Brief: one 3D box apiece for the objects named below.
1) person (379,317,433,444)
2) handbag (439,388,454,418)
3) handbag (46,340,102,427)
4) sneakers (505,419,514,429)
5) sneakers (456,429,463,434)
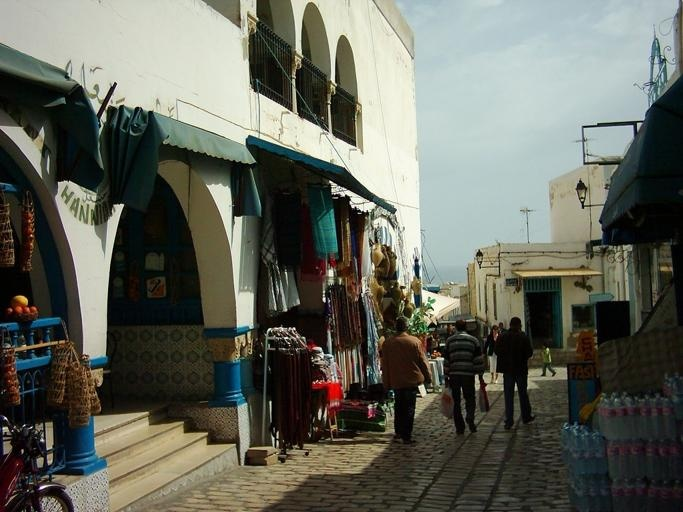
[{"bbox_3d":[0.976,1.932,10.443,0.670,2.056,0.459,0,15,6],"label":"person"},{"bbox_3d":[1.677,2.383,10.698,0.211,0.469,0.312,-4,-5,8],"label":"handbag"},{"bbox_3d":[-2.687,1.288,6.707,0.481,0.864,0.237,-1,-5,-29],"label":"handbag"},{"bbox_3d":[2.775,2.823,11.144,0.125,0.164,0.133,10,-13,-25],"label":"sneakers"},{"bbox_3d":[1.913,2.868,10.831,0.119,0.078,0.120,-5,-6,10],"label":"sneakers"}]
